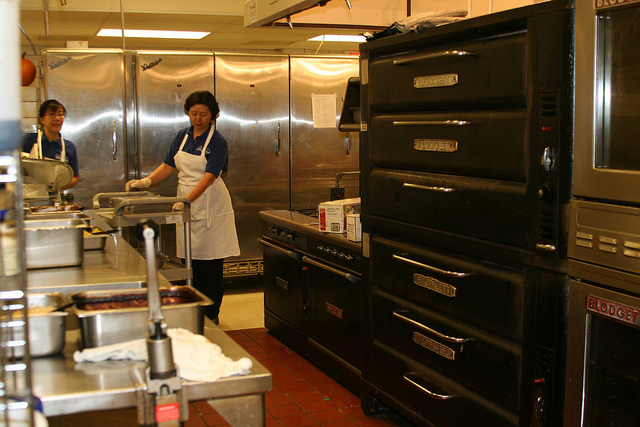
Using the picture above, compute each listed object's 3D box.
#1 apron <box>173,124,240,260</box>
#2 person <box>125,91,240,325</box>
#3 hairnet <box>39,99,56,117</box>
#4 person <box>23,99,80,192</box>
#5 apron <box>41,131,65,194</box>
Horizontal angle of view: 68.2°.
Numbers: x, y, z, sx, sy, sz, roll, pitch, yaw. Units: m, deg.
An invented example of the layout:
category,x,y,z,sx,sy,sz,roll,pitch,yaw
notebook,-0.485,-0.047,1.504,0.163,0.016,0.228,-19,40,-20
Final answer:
category,x,y,z,sx,sy,sz,roll,pitch,yaw
apron,-1.091,-0.183,4.368,0.583,1.264,0.638,-2,7,-6
person,-1.220,-0.028,4.507,0.697,2.211,0.628,2,7,23
hairnet,-2.612,-1.002,4.502,0.130,0.172,0.194,-5,8,-31
person,-2.625,-0.676,4.596,0.455,0.926,1.084,-4,8,-28
apron,-2.607,-0.507,4.631,0.198,0.596,0.455,-5,8,-29
